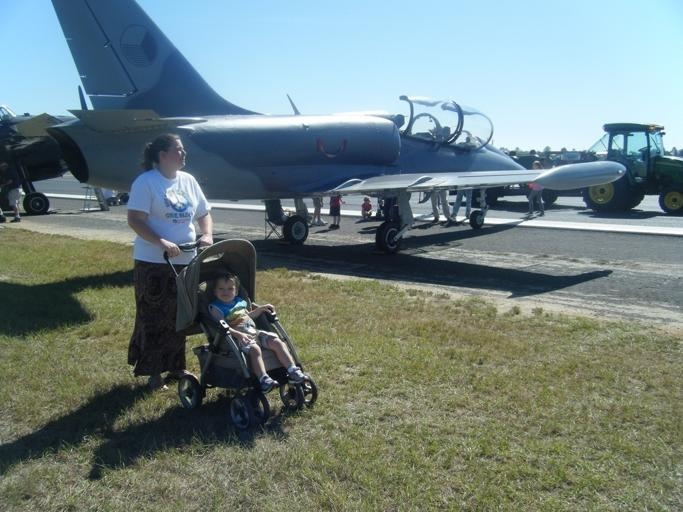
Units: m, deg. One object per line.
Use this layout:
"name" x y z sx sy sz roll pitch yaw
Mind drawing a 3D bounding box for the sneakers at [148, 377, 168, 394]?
"sneakers" -1.851 1.289 5.221 0.092 0.064 0.254 -8 9 -39

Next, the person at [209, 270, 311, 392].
"person" -0.870 0.657 4.898 1.267 0.934 0.627 27 26 36

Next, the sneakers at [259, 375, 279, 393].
"sneakers" -0.641 1.103 4.539 0.088 0.100 0.217 -4 -4 -42

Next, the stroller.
"stroller" -0.950 0.663 4.890 1.317 1.616 0.791 7 12 30

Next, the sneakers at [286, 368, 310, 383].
"sneakers" -0.397 1.074 4.690 0.232 0.106 0.087 -2 0 41

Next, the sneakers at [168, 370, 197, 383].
"sneakers" -1.578 1.179 5.098 0.178 0.057 0.182 4 1 19
